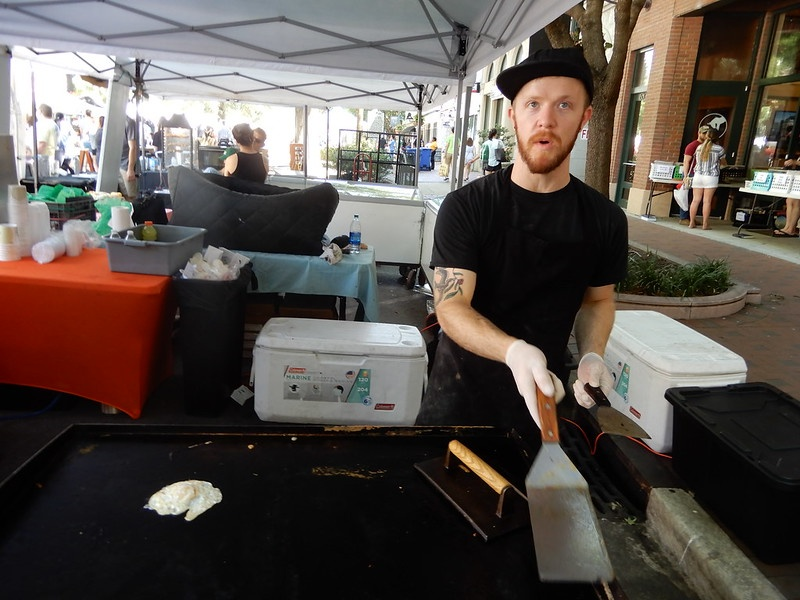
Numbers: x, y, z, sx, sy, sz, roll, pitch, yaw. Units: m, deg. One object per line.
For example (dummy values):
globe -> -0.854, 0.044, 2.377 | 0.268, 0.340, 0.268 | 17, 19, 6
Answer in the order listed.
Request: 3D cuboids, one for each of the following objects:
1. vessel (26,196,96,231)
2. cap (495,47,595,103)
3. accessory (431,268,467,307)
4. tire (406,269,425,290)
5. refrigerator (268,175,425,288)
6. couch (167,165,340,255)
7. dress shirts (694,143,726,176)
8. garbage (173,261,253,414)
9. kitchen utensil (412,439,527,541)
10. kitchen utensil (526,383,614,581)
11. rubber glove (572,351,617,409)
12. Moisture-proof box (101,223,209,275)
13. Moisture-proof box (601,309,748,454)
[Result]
vessel -> -2.671, -0.737, 4.231 | 0.286, 0.164, 0.455 | 6, 13, 17
cap -> 0.526, -0.769, 1.848 | 0.269, 0.090, 0.201 | 3, 4, -12
accessory -> 0.171, -0.045, 1.899 | 0.129, 0.127, 0.039 | 8, 4, 18
tire -> 0.192, -0.287, 6.988 | 0.201, 0.304, 0.319 | 0, -14, -8
refrigerator -> -0.254, -1.081, 7.451 | 1.994, 1.049, 1.303 | 7, 19, 8
couch -> -1.156, -0.714, 4.111 | 1.090, 0.499, 0.683 | 5, 26, -12
dress shirts -> 5.612, -2.598, 9.531 | 0.337, 0.584, 0.607 | -19, 30, -38
garbage -> -1.192, 0.275, 3.388 | 0.458, 0.939, 0.247 | -4, 16, -23
kitchen utensil -> 0.220, 0.507, 1.500 | 0.219, 0.100, 0.309 | -11, 27, -34
kitchen utensil -> 0.407, 0.462, 1.327 | 0.143, 0.025, 0.513 | -1, 43, 1
rubber glove -> 0.614, 0.252, 1.691 | 0.119, 0.057, 0.218 | 22, 32, 2
Moisture-proof box -> -1.496, -0.390, 3.356 | 0.368, 0.160, 0.477 | 3, 11, 7
Moisture-proof box -> 1.634, 0.447, 3.472 | 0.640, 0.559, 1.061 | 4, 15, -12
